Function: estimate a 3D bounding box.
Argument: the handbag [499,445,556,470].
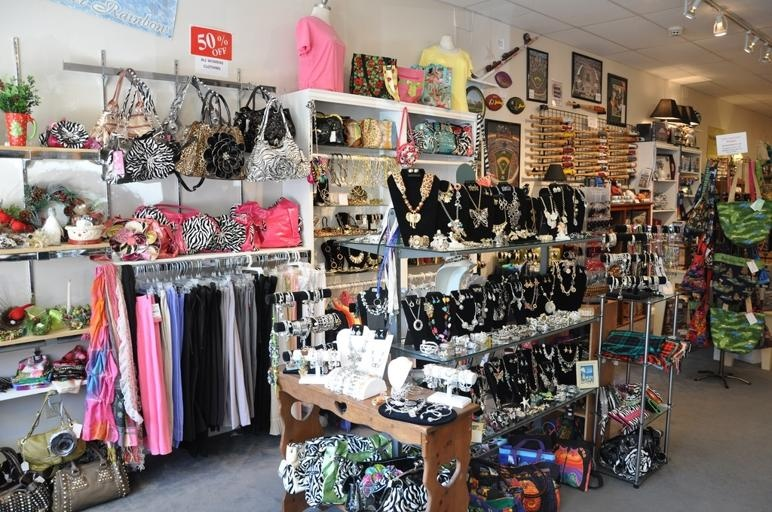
[{"bbox_3d":[1.069,1.455,4.068,0.336,0.289,0.145,-2,-9,7],"label":"handbag"}]

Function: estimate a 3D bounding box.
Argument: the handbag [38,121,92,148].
[{"bbox_3d":[-2.336,-0.868,3.853,0.247,0.251,0.095,-3,-30,-27],"label":"handbag"}]

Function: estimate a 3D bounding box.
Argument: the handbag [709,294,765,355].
[{"bbox_3d":[4.003,0.747,6.051,0.684,0.753,0.294,4,6,32],"label":"handbag"}]

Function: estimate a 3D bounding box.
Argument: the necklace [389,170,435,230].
[{"bbox_3d":[0.172,-0.372,3.624,0.325,0.399,0.228,-7,17,-27],"label":"necklace"}]

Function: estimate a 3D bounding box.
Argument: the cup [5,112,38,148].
[{"bbox_3d":[-2.591,-0.892,3.750,0.152,0.230,0.304,-4,12,-20],"label":"cup"}]

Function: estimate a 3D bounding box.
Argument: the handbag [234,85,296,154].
[{"bbox_3d":[-1.053,-1.150,4.555,0.575,0.549,0.283,-7,18,-10],"label":"handbag"}]

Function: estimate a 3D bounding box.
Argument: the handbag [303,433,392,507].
[{"bbox_3d":[-0.275,1.321,3.411,0.456,0.192,0.520,0,-1,-40],"label":"handbag"}]

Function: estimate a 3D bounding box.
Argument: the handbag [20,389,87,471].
[{"bbox_3d":[-2.506,1.271,3.948,0.395,0.505,0.479,-8,14,-36],"label":"handbag"}]

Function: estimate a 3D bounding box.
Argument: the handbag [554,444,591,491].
[{"bbox_3d":[1.438,1.633,4.081,0.267,0.288,0.110,-6,-11,35],"label":"handbag"}]

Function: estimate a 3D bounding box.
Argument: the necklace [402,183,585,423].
[{"bbox_3d":[0.820,0.364,3.938,1.882,1.774,0.627,-5,6,-37],"label":"necklace"}]

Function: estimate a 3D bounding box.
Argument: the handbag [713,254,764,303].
[{"bbox_3d":[3.913,0.254,5.921,0.562,0.559,0.166,15,14,42],"label":"handbag"}]

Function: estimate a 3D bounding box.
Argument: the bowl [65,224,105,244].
[{"bbox_3d":[-2.196,-0.158,3.868,0.169,0.080,0.172,0,1,0],"label":"bowl"}]

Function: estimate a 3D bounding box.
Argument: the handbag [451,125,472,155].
[{"bbox_3d":[0.836,-1.245,5.714,0.308,0.290,0.101,-10,5,-36],"label":"handbag"}]

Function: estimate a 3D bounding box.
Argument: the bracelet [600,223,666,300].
[{"bbox_3d":[2.164,0.066,4.626,0.837,0.607,0.261,-6,4,-37],"label":"bracelet"}]

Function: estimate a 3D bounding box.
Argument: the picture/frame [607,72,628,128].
[{"bbox_3d":[3.466,-2.353,7.980,0.038,0.965,0.827,3,7,42],"label":"picture/frame"}]

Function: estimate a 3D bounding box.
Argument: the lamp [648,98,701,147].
[{"bbox_3d":[4.667,-2.174,8.635,0.393,0.680,1.147,2,5,44],"label":"lamp"}]

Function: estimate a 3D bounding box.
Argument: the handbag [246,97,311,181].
[{"bbox_3d":[-0.912,-0.971,4.506,0.698,0.815,0.315,-5,5,-31],"label":"handbag"}]

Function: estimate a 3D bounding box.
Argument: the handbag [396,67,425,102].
[{"bbox_3d":[0.229,-1.690,5.347,0.314,0.355,0.318,0,3,-1],"label":"handbag"}]

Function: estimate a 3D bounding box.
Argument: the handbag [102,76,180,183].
[{"bbox_3d":[-1.905,-1.008,4.114,0.558,0.867,0.430,-1,11,-5],"label":"handbag"}]

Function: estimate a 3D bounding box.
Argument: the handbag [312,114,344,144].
[{"bbox_3d":[-0.515,-1.121,4.739,0.285,0.254,0.122,-4,12,-19],"label":"handbag"}]

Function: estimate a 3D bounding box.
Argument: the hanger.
[{"bbox_3d":[-1.421,0.068,4.511,1.506,0.264,0.485,-7,13,-31],"label":"hanger"}]

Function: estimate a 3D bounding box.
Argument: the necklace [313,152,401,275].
[{"bbox_3d":[-0.297,-0.391,4.749,1.084,1.271,0.365,-6,9,-43],"label":"necklace"}]

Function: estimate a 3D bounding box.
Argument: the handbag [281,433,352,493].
[{"bbox_3d":[-0.489,1.343,3.456,0.330,0.183,0.412,3,-19,-38],"label":"handbag"}]

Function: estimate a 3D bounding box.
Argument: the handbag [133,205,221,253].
[{"bbox_3d":[-1.664,-0.208,4.241,0.471,0.456,0.213,4,-16,-31],"label":"handbag"}]

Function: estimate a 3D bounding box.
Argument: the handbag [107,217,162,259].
[{"bbox_3d":[-1.886,-0.119,4.007,0.370,0.298,0.107,-5,12,-24],"label":"handbag"}]

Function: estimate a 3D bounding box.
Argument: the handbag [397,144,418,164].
[{"bbox_3d":[0.206,-0.975,5.074,0.208,0.199,0.143,0,11,-2],"label":"handbag"}]
